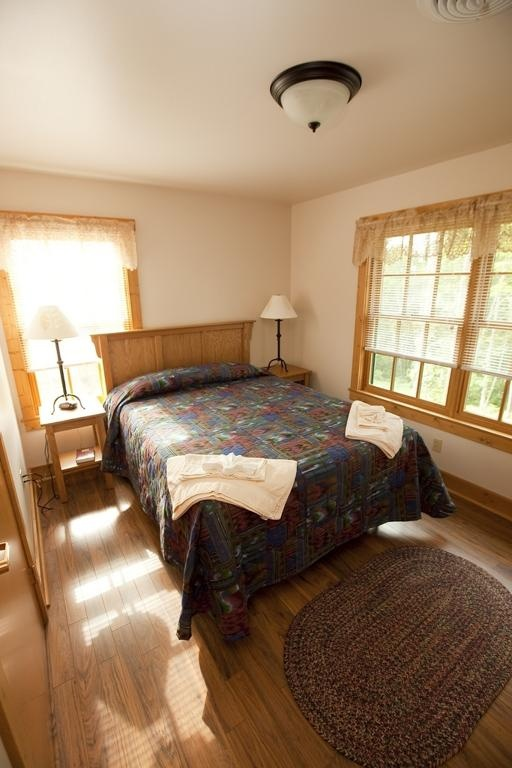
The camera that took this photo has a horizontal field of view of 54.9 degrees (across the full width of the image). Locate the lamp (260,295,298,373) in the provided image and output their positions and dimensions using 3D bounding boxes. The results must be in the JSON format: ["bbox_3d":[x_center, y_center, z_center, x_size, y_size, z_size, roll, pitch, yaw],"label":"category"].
[{"bbox_3d":[0.201,-0.433,4.322,0.412,0.637,0.411,3,9,16],"label":"lamp"}]

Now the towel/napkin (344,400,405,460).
[{"bbox_3d":[0.642,0.246,2.679,0.278,0.090,0.289,6,27,20],"label":"towel/napkin"}]

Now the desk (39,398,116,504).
[{"bbox_3d":[-1.173,0.426,3.261,0.403,0.476,0.331,-11,13,-23],"label":"desk"}]

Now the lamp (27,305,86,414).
[{"bbox_3d":[-1.266,-0.163,3.157,0.269,0.698,0.481,-6,15,-20],"label":"lamp"}]

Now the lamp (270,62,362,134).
[{"bbox_3d":[0.235,-1.068,1.931,0.340,0.169,0.332,-1,4,-3],"label":"lamp"}]

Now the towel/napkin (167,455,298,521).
[{"bbox_3d":[-0.110,0.456,2.204,0.600,0.205,0.402,-2,13,-2],"label":"towel/napkin"}]

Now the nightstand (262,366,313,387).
[{"bbox_3d":[0.279,-0.103,4.527,0.254,0.247,0.258,16,25,41],"label":"nightstand"}]

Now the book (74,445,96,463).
[{"bbox_3d":[-1.143,0.475,3.322,0.095,0.022,0.093,-9,17,-39],"label":"book"}]

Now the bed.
[{"bbox_3d":[-0.117,0.300,3.028,1.584,0.958,1.995,-8,22,-20],"label":"bed"}]
